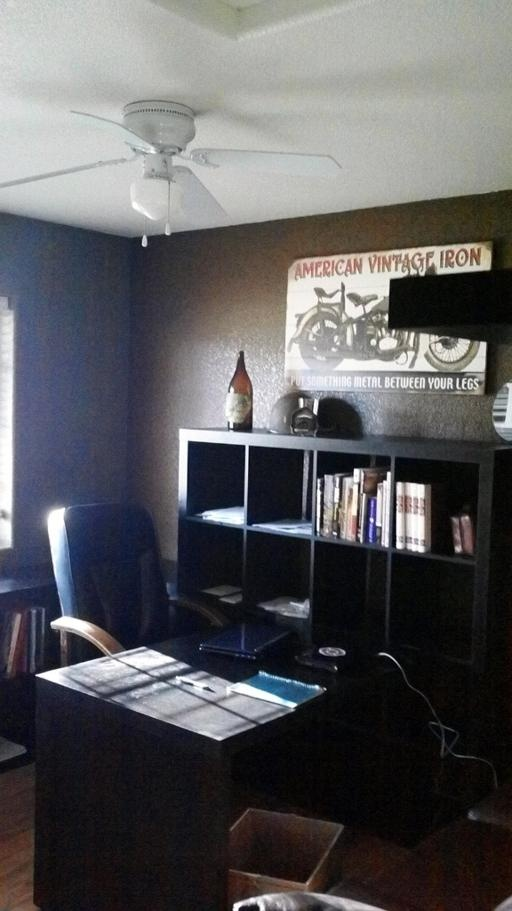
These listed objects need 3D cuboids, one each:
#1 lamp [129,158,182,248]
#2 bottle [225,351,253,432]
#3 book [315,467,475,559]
[{"bbox_3d":[-0.240,-0.626,1.676,0.109,0.206,0.118,-6,29,-23],"label":"lamp"},{"bbox_3d":[-0.077,-0.284,3.036,0.107,0.355,0.235,1,1,-3],"label":"bottle"},{"bbox_3d":[0.445,0.190,2.529,0.145,0.226,0.507,1,2,-44],"label":"book"}]
